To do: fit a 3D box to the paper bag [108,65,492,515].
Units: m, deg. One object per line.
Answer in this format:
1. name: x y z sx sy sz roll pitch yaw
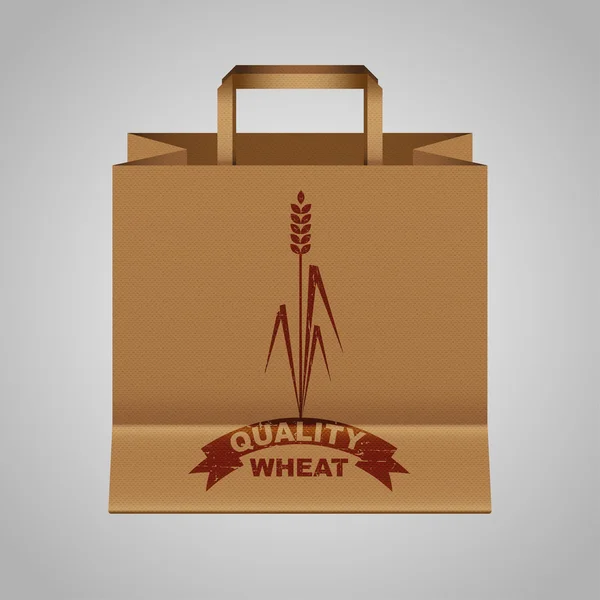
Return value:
1. paper bag: 0.004 0.079 1.503 0.789 0.650 0.471 0 -36 -2
